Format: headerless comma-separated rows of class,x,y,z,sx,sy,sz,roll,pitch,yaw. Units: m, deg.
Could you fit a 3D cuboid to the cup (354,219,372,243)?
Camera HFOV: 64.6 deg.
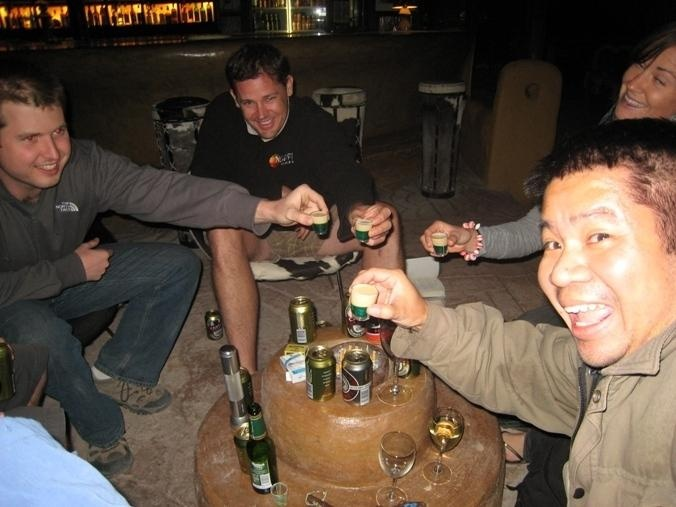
cup,0.161,-0.155,3.469,0.152,0.132,0.111,0,27,-3

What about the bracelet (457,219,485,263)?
bracelet,0.939,-0.085,3.654,0.095,0.228,0.204,5,5,5

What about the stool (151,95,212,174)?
stool,-1.652,-1.193,5.642,0.634,0.577,0.549,-7,24,-22

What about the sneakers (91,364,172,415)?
sneakers,-1.476,1.004,3.924,0.718,0.288,0.255,13,42,-6

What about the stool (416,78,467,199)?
stool,1.394,-1.495,7.546,0.799,1.514,0.786,4,9,21

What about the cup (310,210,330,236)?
cup,-0.111,-0.193,3.437,0.096,0.175,0.167,-3,24,3
